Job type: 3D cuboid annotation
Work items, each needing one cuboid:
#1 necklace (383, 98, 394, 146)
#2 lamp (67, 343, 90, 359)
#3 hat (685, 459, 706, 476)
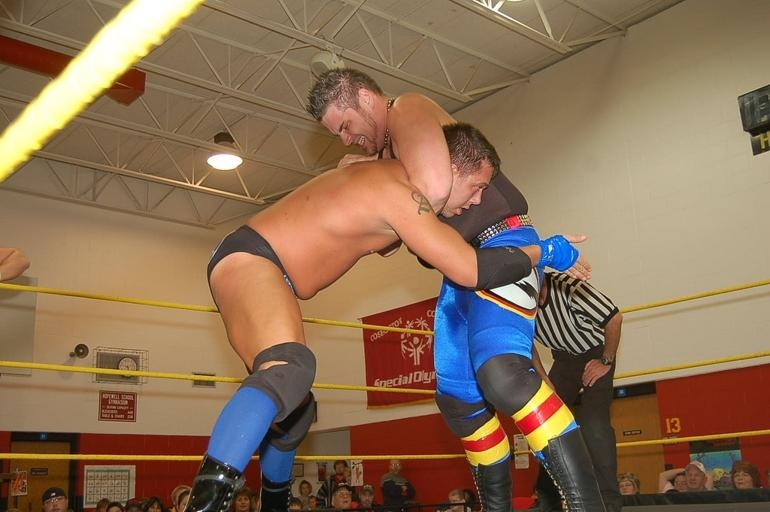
[{"bbox_3d":[0.015,-0.595,2.262,0.046,0.152,0.112,4,-7,0],"label":"necklace"},{"bbox_3d":[-6.057,1.881,10.424,0.268,0.279,0.292,26,-3,-19],"label":"lamp"},{"bbox_3d":[3.608,2.441,6.114,0.239,0.122,0.345,-8,-37,27],"label":"hat"}]
